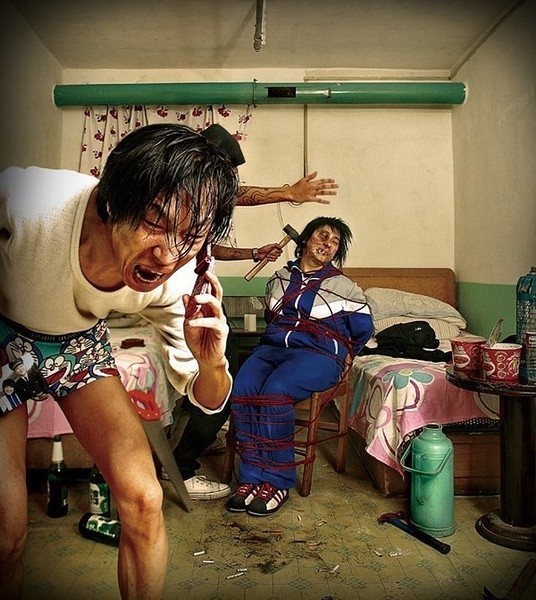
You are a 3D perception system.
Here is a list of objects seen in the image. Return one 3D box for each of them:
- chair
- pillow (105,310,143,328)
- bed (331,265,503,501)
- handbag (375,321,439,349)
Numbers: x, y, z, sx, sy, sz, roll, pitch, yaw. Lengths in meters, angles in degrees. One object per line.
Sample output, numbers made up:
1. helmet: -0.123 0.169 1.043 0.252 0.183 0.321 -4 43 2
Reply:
1. chair: 0.040 0.543 2.580 0.620 0.937 0.568 5 -4 -13
2. pillow: -0.631 0.093 2.291 0.120 0.038 0.121 -5 -7 29
3. bed: 0.604 0.395 2.518 0.787 0.670 1.132 0 1 3
4. handbag: 0.712 0.179 2.623 0.195 0.056 0.180 -3 6 -1
